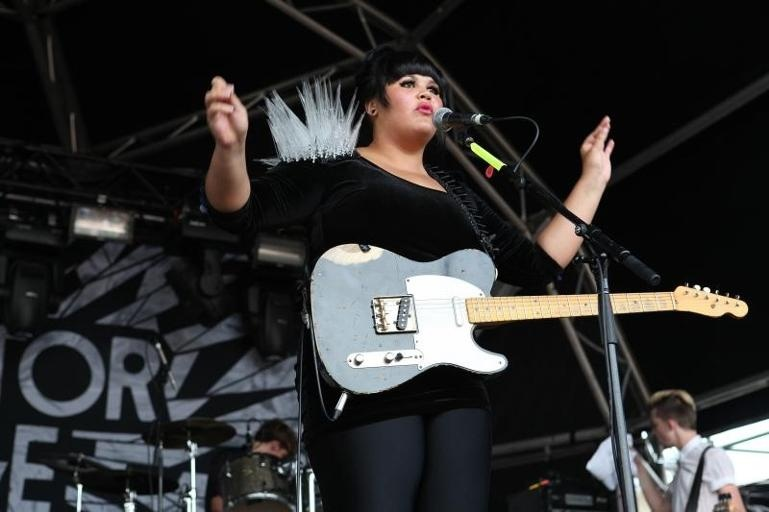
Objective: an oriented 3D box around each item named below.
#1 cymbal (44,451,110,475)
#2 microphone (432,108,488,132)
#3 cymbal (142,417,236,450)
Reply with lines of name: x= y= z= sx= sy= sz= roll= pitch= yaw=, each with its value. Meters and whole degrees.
cymbal: x=-2.771 y=1.828 z=8.761 sx=0.653 sy=0.207 sz=0.172 roll=2 pitch=-1 yaw=10
microphone: x=0.490 y=-0.942 z=6.744 sx=0.428 sy=0.144 sz=0.139 roll=-4 pitch=-23 yaw=32
cymbal: x=-1.775 y=1.609 z=9.041 sx=0.786 sy=0.313 sz=0.611 roll=-2 pitch=-4 yaw=8
